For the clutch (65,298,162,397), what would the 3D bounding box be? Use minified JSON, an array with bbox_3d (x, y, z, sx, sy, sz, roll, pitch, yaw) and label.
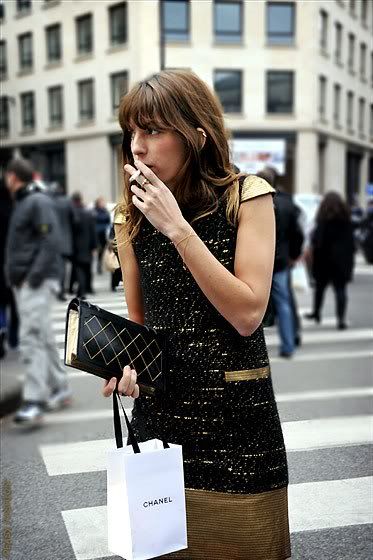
[{"bbox_3d":[-0.171,0.175,1.701,0.249,0.253,0.161,-2,7,-9],"label":"clutch"}]
